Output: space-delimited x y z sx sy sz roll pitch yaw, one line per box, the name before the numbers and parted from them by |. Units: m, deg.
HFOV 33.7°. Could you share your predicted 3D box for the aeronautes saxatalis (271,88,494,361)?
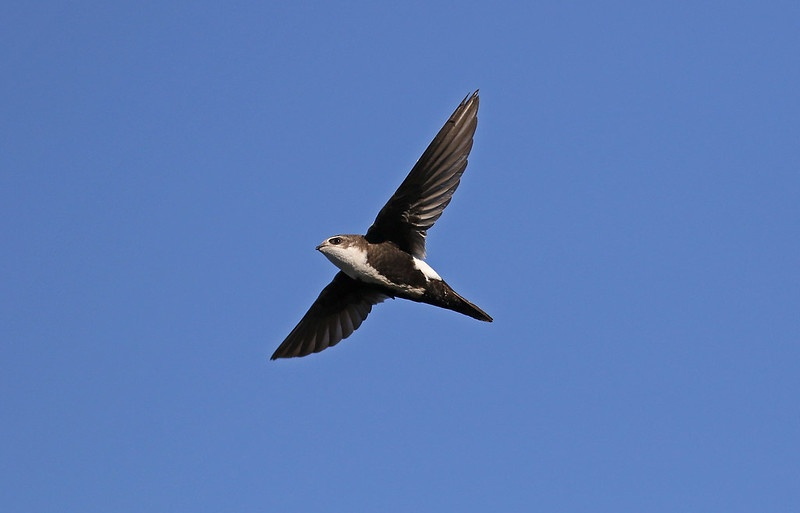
aeronautes saxatalis | 0.248 -0.590 15.841 2.712 4.478 0.717 -1 42 -33
